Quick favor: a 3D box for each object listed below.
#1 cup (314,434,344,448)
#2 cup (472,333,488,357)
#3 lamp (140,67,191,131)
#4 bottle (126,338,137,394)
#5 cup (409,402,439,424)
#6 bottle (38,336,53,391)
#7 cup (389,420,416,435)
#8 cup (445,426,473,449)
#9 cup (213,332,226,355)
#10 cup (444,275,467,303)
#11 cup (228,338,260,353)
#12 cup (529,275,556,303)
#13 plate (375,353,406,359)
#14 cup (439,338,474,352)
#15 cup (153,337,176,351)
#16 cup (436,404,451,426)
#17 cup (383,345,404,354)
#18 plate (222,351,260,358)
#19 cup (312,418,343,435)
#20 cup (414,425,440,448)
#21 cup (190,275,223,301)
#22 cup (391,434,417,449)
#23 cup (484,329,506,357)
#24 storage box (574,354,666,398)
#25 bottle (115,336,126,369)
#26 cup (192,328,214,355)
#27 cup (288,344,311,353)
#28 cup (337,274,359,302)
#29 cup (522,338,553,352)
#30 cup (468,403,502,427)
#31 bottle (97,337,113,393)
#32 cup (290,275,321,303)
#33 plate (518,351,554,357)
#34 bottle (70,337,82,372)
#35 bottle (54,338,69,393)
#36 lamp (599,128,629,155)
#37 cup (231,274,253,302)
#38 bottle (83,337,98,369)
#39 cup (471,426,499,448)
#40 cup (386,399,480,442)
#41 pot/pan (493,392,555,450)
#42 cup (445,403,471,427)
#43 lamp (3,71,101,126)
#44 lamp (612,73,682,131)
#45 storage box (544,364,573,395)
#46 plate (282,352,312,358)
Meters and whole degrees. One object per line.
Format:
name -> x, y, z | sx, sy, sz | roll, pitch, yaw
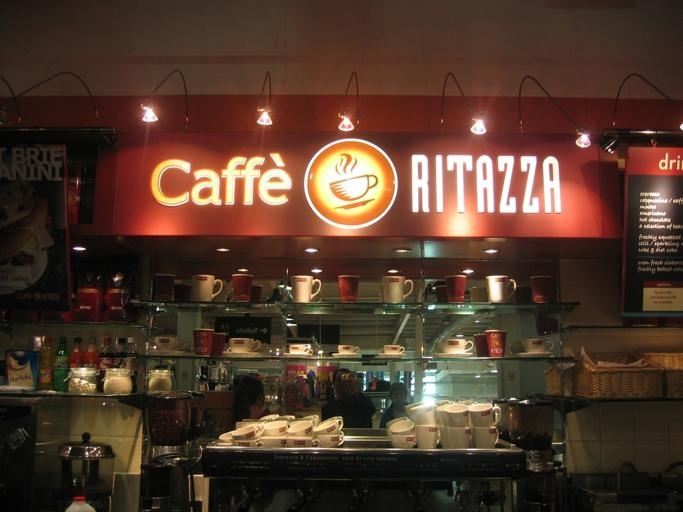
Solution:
cup -> -0.063, 1.166, 4.779 | 0.147, 0.059, 0.099 | 6, -20, -20
cup -> 0.936, 0.600, 5.096 | 0.132, 0.160, 0.123 | 0, -1, 0
lamp -> -1.251, -1.078, 5.343 | 0.339, 0.138, 0.466 | -5, -50, -10
bottle -> -1.428, 0.733, 5.183 | 0.076, 0.382, 0.290 | 3, -11, -15
cup -> 0.526, 1.002, 4.801 | 0.149, 0.112, 0.123 | 5, -35, -28
bottle -> -2.040, 0.736, 5.209 | 0.129, 0.360, 0.084 | -6, -12, 28
cup -> 0.385, 1.082, 4.780 | 0.096, 0.038, 0.087 | -3, -2, -23
cup -> 0.720, 1.126, 4.689 | 0.148, 0.118, 0.122 | -10, -20, 24
cup -> -0.809, 0.594, 5.139 | 0.117, 0.133, 0.123 | -1, -13, 0
cup -> 0.774, 0.225, 5.164 | 0.154, 0.168, 0.162 | 3, -15, 1
cup -> -0.659, 0.608, 5.110 | 0.149, 0.071, 0.118 | 2, -14, -7
cup -> 1.382, 0.226, 5.199 | 0.160, 0.212, 0.153 | -1, -11, 0
plate -> 0.335, 0.675, 5.150 | 0.208, 0.054, 0.139 | -1, -11, 0
cup -> 0.785, 0.592, 5.083 | 0.169, 0.085, 0.111 | 2, -18, 0
cup -> -1.208, 0.596, 5.177 | 0.116, 0.100, 0.178 | 5, -12, -27
cup -> 0.626, 1.014, 4.812 | 0.126, 0.098, 0.104 | -4, -5, 27
cup -> 0.353, 0.633, 5.134 | 0.088, 0.041, 0.071 | 1, -16, 2
plate -> -0.678, 0.657, 5.078 | 0.223, 0.050, 0.077 | 0, -11, -3
cup -> -0.052, 1.090, 4.885 | 0.143, 0.101, 0.305 | -7, -12, 30
cup -> 0.537, 1.119, 4.700 | 0.114, 0.109, 0.145 | 1, -21, -4
cup -> -0.896, 0.224, 5.236 | 0.183, 0.203, 0.292 | -4, -11, 18
cup -> 0.382, 1.149, 4.701 | 0.112, 0.060, 0.088 | 1, -19, 3
cup -> 1.025, 0.582, 5.037 | 0.151, 0.161, 0.154 | 1, -8, 0
storage box -> 1.839, 0.792, 5.047 | 0.582, 0.311, 0.220 | -5, -12, 20
bottle -> -1.497, 0.651, 5.168 | 0.071, 0.205, 0.209 | 3, -11, -17
cup -> -0.914, 0.573, 5.048 | 0.150, 0.160, 0.155 | 0, -15, 0
cup -> -0.271, 0.633, 5.174 | 0.182, 0.072, 0.123 | 3, -11, -22
cup -> 0.050, 0.221, 5.121 | 0.128, 0.190, 0.114 | 1, -11, -6
cup -> 1.343, 0.611, 5.163 | 0.120, 0.113, 0.278 | -10, -14, 40
cup -> 0.888, 0.984, 4.708 | 0.162, 0.119, 0.126 | -2, -9, 5
bottle -> -1.626, 0.739, 5.235 | 0.103, 0.388, 0.282 | 3, -11, -18
cup -> -0.243, 0.228, 5.160 | 0.211, 0.159, 0.138 | 4, -13, -17
plate -> 1.309, 0.664, 5.094 | 0.255, 0.040, 0.102 | 4, -11, -23
bottle -> -1.841, 0.667, 5.283 | 0.084, 0.220, 0.175 | 4, -12, -21
bottle -> -1.919, 0.746, 5.210 | 0.101, 0.366, 0.238 | 4, -12, -24
lamp -> 1.778, -0.753, 4.971 | 0.160, 0.134, 0.116 | 1, -11, -6
cup -> -0.676, 0.226, 5.213 | 0.135, 0.184, 0.208 | 1, -11, -7
bottle -> -1.714, 0.661, 5.212 | 0.088, 0.205, 0.141 | 5, -12, -27
cup -> 0.891, 1.117, 4.677 | 0.145, 0.111, 0.116 | -2, -14, 7
cup -> 0.609, 1.034, 4.798 | 0.367, 0.153, 0.253 | -9, -17, 18
pot/pan -> 1.176, 1.057, 4.813 | 0.334, 0.349, 0.287 | -1, -9, 15
cup -> 0.727, 1.000, 4.744 | 0.147, 0.141, 0.153 | -1, -11, 0
lamp -> -2.179, -1.253, 5.620 | 0.530, 0.544, 0.147 | -5, -8, -21
lamp -> 2.196, -1.155, 5.587 | 0.586, 0.498, 0.200 | 3, -11, -17
storage box -> 1.484, 0.855, 5.237 | 0.185, 0.256, 0.209 | 1, -20, 11
plate -> -0.295, 0.670, 5.123 | 0.189, 0.034, 0.082 | 1, -11, -7
